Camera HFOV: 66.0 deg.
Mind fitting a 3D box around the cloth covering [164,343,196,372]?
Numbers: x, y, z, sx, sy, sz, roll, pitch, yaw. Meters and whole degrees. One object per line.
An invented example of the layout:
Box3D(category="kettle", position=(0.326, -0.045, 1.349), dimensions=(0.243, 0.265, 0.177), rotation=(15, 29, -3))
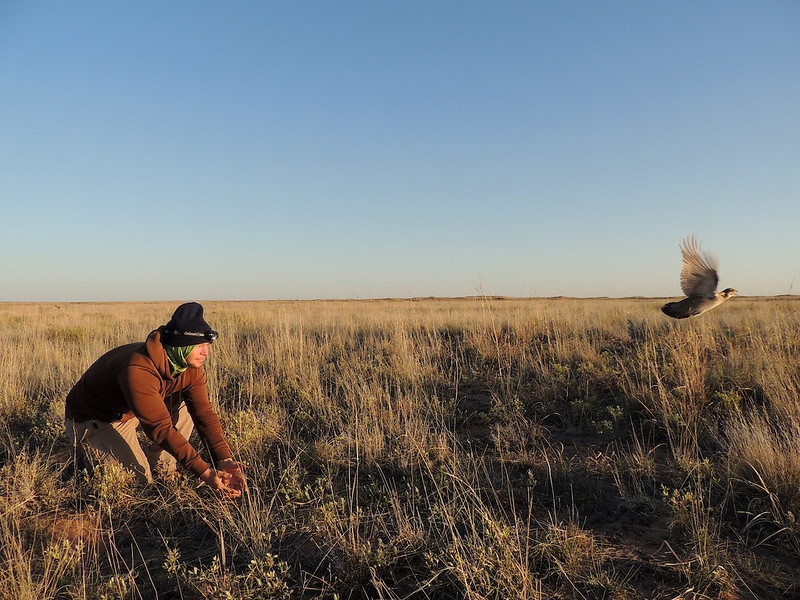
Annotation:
Box3D(category="cloth covering", position=(-2.266, 0.600, 6.281), dimensions=(0.277, 0.315, 0.224), rotation=(-5, 20, -17))

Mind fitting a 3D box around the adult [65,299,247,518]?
Box3D(category="adult", position=(-2.963, 1.340, 7.403), dimensions=(1.807, 2.035, 1.167), rotation=(18, 19, 9))

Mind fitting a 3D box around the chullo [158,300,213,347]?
Box3D(category="chullo", position=(-2.170, 0.248, 6.178), dimensions=(0.477, 0.408, 0.384), rotation=(-1, 0, 19))

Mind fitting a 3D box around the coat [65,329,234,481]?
Box3D(category="coat", position=(-2.614, 1.027, 6.499), dimensions=(1.789, 1.512, 0.818), rotation=(-3, 0, 27))
